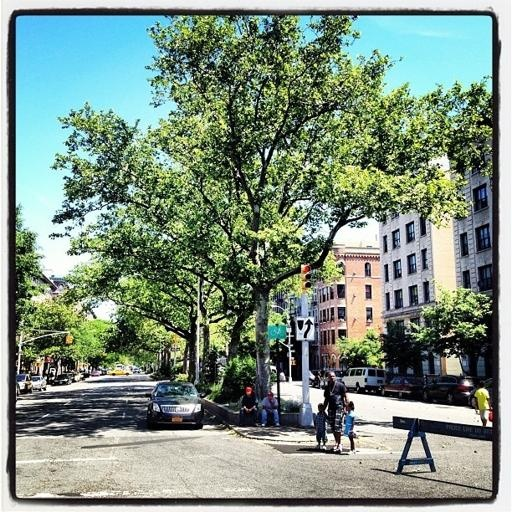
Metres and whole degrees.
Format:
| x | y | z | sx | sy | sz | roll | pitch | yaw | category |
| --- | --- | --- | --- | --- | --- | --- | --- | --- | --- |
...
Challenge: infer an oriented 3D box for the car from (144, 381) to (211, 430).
| x | y | z | sx | sy | sz | roll | pitch | yaw | category |
| --- | --- | --- | --- | --- | --- | --- | --- | --- | --- |
| -2.815 | 5.345 | 19.764 | 1.864 | 1.441 | 1.806 | 4 | -12 | -8 | car |

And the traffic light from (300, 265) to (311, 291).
| x | y | z | sx | sy | sz | roll | pitch | yaw | category |
| --- | --- | --- | --- | --- | --- | --- | --- | --- | --- |
| 1.598 | 0.699 | 17.995 | 0.299 | 0.791 | 0.439 | 0 | -11 | 8 | traffic light |

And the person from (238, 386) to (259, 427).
| x | y | z | sx | sy | sz | roll | pitch | yaw | category |
| --- | --- | --- | --- | --- | --- | --- | --- | --- | --- |
| -0.272 | 5.278 | 19.720 | 0.645 | 1.309 | 0.856 | 2 | -11 | -1 | person |

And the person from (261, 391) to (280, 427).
| x | y | z | sx | sy | sz | roll | pitch | yaw | category |
| --- | --- | --- | --- | --- | --- | --- | --- | --- | --- |
| 0.467 | 5.356 | 19.662 | 0.706 | 1.145 | 0.744 | -3 | -13 | 24 | person |

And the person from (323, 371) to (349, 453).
| x | y | z | sx | sy | sz | roll | pitch | yaw | category |
| --- | --- | --- | --- | --- | --- | --- | --- | --- | --- |
| 1.999 | 3.961 | 14.322 | 0.573 | 1.962 | 1.303 | 1 | -12 | 8 | person |

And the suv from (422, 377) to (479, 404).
| x | y | z | sx | sy | sz | roll | pitch | yaw | category |
| --- | --- | --- | --- | --- | --- | --- | --- | --- | --- |
| 11.450 | 7.935 | 33.350 | 1.228 | 1.015 | 2.924 | 7 | -13 | -20 | suv |
